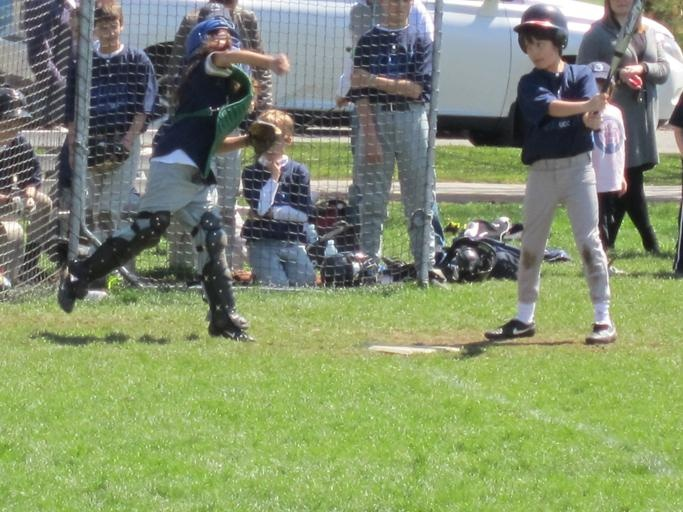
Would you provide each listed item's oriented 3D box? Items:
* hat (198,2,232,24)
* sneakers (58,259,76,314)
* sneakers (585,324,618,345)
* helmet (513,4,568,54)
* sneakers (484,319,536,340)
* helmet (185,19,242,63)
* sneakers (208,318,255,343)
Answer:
[{"bbox_3d":[-1.053,-2.010,10.143,0.351,0.198,0.517,-1,5,-7],"label":"hat"},{"bbox_3d":[-1.915,0.244,8.524,0.112,0.377,0.224,-3,16,-14],"label":"sneakers"},{"bbox_3d":[1.769,0.543,8.449,0.098,0.098,0.255,-1,-3,35],"label":"sneakers"},{"bbox_3d":[1.377,-1.564,8.405,0.276,0.278,0.367,-3,-5,40],"label":"helmet"},{"bbox_3d":[1.194,0.526,8.724,0.392,0.158,0.140,0,1,-12],"label":"sneakers"},{"bbox_3d":[-0.880,-1.494,8.394,0.367,0.277,0.250,-2,15,-9],"label":"helmet"},{"bbox_3d":[-0.787,0.522,8.500,0.367,0.218,0.124,-1,8,-4],"label":"sneakers"}]
